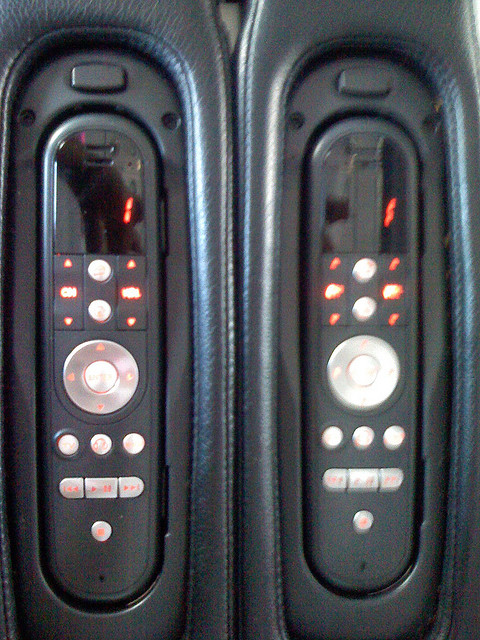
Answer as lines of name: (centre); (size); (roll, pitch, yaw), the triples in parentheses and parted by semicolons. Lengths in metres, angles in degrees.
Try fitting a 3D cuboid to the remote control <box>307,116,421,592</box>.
remote control: (0.176, 0.049, 1.214); (0.147, 0.753, 0.093); (1, 24, 10)
